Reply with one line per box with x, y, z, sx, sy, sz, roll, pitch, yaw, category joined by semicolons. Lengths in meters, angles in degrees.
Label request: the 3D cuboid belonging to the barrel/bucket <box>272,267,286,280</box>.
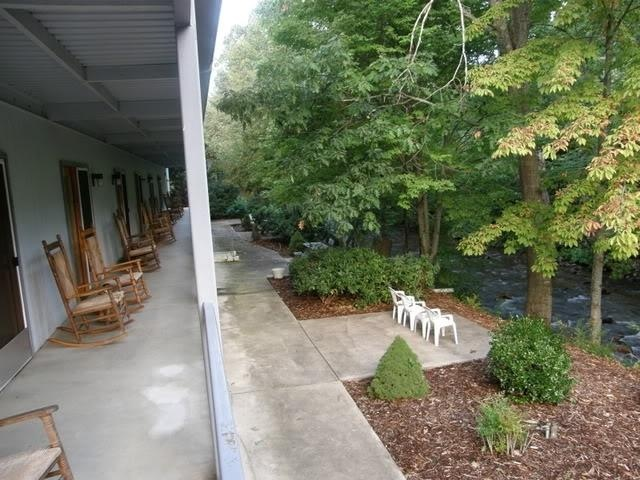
-1.102;0.885;11.911;0.298;0.229;0.303;-4;-7;-1;barrel/bucket
